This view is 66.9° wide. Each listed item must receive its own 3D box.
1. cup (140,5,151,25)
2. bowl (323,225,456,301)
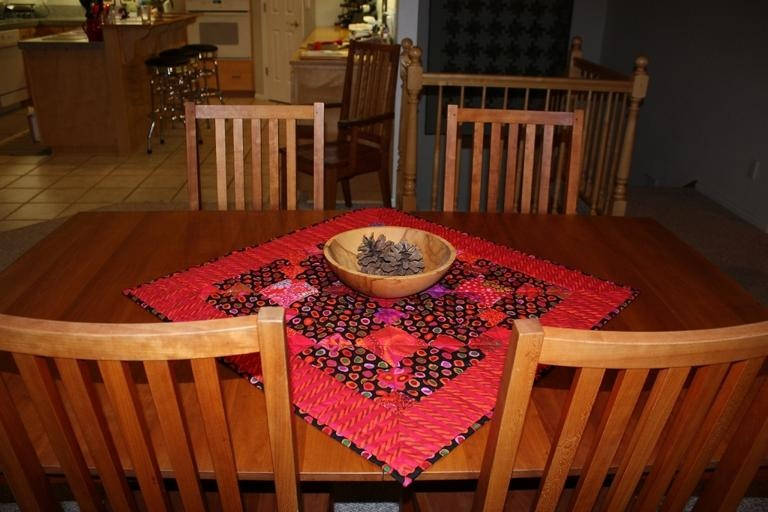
[{"bbox_3d":[-2.377,-2.408,5.769,0.092,0.126,0.314,-9,28,-22],"label":"cup"},{"bbox_3d":[0.012,0.005,1.585,0.349,0.135,0.285,0,26,-6],"label":"bowl"}]
